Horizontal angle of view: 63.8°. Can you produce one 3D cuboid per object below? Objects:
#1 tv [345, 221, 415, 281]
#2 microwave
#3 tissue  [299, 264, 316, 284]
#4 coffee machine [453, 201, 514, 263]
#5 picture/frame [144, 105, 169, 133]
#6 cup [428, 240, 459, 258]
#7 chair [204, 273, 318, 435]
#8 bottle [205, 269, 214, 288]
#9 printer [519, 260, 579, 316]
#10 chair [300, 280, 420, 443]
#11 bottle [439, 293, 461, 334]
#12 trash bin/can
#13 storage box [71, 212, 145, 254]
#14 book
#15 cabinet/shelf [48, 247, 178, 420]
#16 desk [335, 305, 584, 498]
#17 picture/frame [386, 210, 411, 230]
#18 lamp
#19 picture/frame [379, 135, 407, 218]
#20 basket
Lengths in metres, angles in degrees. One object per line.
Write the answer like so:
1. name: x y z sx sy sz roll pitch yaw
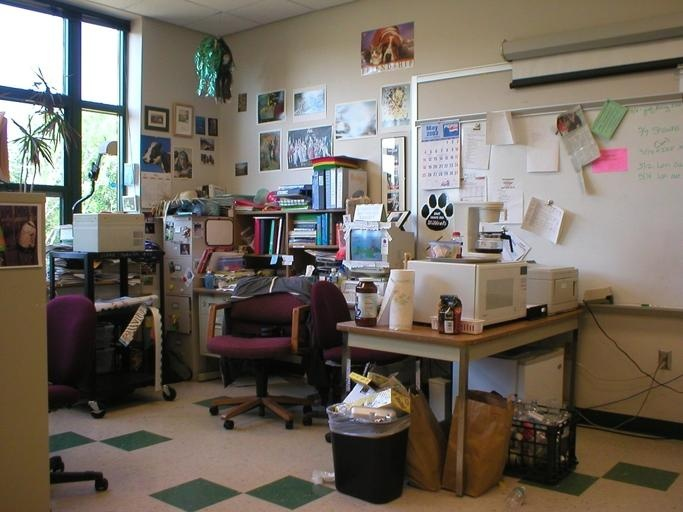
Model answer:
1. tv: 0.319 -0.040 4.766 0.471 0.473 0.482 -1 -1 39
2. microwave: 0.765 0.141 3.485 0.429 0.336 0.598 1 3 40
3. tissue : -0.298 0.167 5.185 0.058 0.169 0.127 4 -2 9
4. coffee machine: 0.921 -0.169 3.633 0.296 0.374 0.259 -1 5 -9
5. picture/frame: -1.999 -1.485 5.884 0.022 0.312 0.322 1 1 41
6. cup: 0.724 -0.051 3.859 0.171 0.082 0.136 0 0 17
7. chair: -0.687 0.752 4.565 0.960 1.321 1.052 -1 -3 17
8. bottle: -1.313 0.236 5.466 0.124 0.201 0.125 0 3 0
9. printer: 1.518 0.221 4.114 0.386 0.353 0.390 1 2 44
10. chair: 0.151 0.696 4.312 0.730 1.036 0.760 -5 3 -27
11. bottle: 0.642 0.342 3.260 0.136 0.213 0.136 0 5 0
12. trash bin/can: 0.206 1.137 3.308 0.450 0.473 0.513 0 1 40
13. storage box: -2.082 -0.213 4.927 0.597 0.354 0.334 -3 6 -26
14. book: -0.334 -0.280 5.314 1.063 1.029 0.350 -4 -11 43
15. cabinet/shelf: -1.818 0.554 4.761 1.020 1.365 1.122 -11 -11 6
16. desk: 0.634 0.529 3.546 1.000 0.769 1.527 1 3 39
17. picture/frame: 0.505 -0.317 4.850 0.159 0.167 0.094 2 -28 39
18. lamp: -2.442 -0.776 5.401 0.413 0.690 0.799 -2 6 -26
19. picture/frame: 0.488 -0.785 5.199 0.270 0.698 0.069 5 7 42
20. basket: 1.273 1.191 3.481 0.456 0.299 0.466 3 4 40
